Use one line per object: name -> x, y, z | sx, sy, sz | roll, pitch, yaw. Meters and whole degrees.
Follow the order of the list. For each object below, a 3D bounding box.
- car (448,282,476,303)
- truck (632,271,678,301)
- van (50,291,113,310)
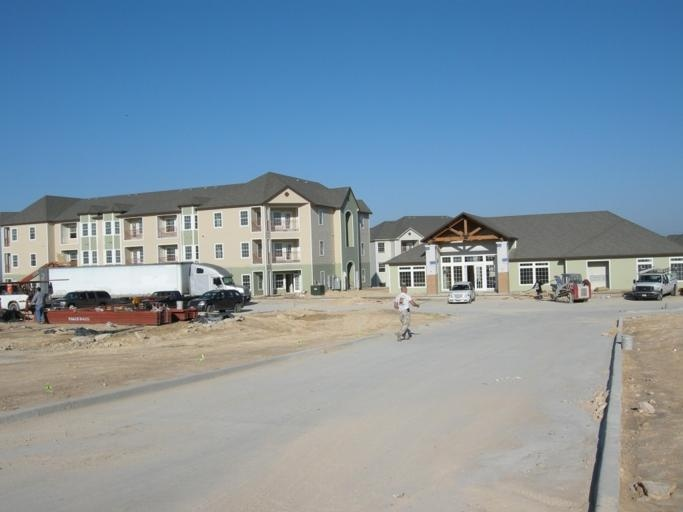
car -> 8.393, 2.550, 43.766 | 1.443, 0.920, 2.722 | -2, -4, 11
truck -> 21.216, 1.934, 42.783 | 1.977, 1.420, 4.563 | -2, -3, 33
van -> -16.341, 2.740, 39.266 | 1.518, 1.017, 3.548 | -2, -5, 29
